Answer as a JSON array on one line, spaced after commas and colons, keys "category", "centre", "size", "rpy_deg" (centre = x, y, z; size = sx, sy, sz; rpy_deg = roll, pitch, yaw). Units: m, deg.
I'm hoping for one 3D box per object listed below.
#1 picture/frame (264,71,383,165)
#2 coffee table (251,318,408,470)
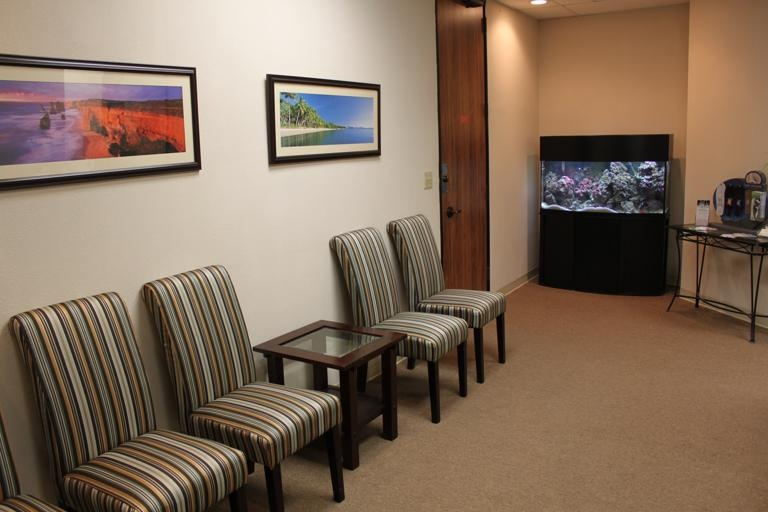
[{"category": "picture/frame", "centre": [-0.415, -1.014, 4.025], "size": [0.066, 0.619, 1.130], "rpy_deg": [10, 21, 41]}, {"category": "coffee table", "centre": [-0.269, 0.954, 3.853], "size": [0.878, 0.898, 0.865], "rpy_deg": [9, 17, 31]}]
